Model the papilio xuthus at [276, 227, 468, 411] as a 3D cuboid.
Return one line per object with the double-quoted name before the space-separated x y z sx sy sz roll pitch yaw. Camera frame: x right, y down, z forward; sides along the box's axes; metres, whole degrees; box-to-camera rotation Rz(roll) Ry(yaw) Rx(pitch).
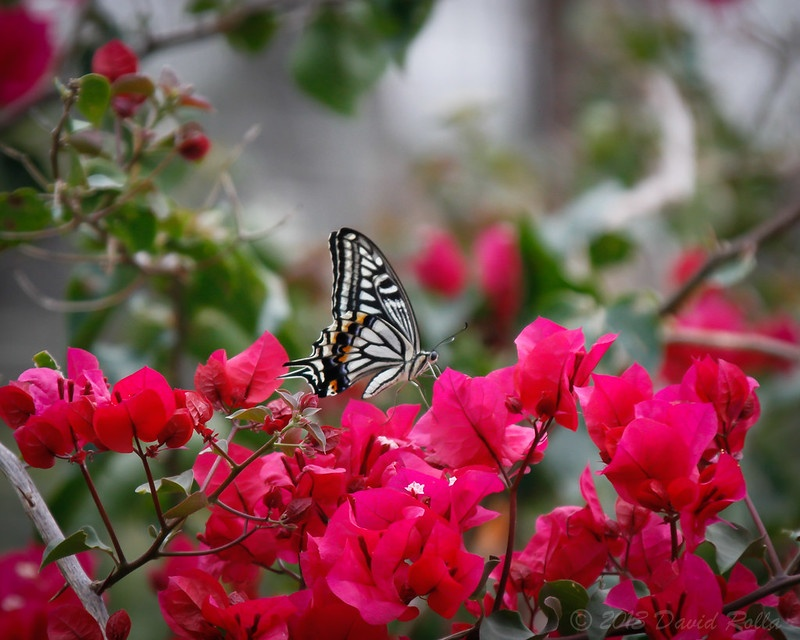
"papilio xuthus" -0.027 -0.001 0.968 0.146 0.147 0.153 -10 3 -17
